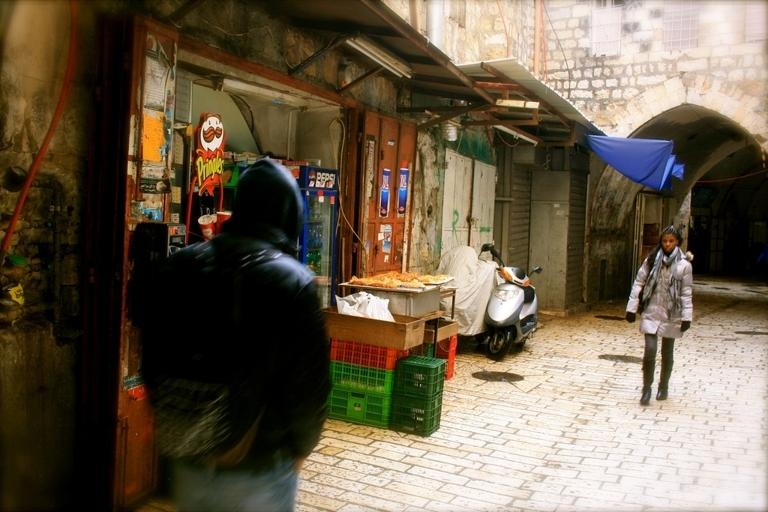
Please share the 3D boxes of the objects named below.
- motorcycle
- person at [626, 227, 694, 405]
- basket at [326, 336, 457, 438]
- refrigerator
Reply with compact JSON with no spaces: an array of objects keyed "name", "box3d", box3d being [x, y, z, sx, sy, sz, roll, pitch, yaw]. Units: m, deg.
[{"name":"motorcycle","box3d":[2.445,0.797,10.859,1.042,2.047,1.986,3,6,15]},{"name":"person","box3d":[4.034,0.866,8.225,0.818,2.577,0.574,4,6,26]},{"name":"basket","box3d":[0.004,1.643,7.202,1.425,1.054,0.337,3,6,18]},{"name":"refrigerator","box3d":[-0.939,-0.323,8.260,0.537,1.889,0.553,-7,32,-19]}]
